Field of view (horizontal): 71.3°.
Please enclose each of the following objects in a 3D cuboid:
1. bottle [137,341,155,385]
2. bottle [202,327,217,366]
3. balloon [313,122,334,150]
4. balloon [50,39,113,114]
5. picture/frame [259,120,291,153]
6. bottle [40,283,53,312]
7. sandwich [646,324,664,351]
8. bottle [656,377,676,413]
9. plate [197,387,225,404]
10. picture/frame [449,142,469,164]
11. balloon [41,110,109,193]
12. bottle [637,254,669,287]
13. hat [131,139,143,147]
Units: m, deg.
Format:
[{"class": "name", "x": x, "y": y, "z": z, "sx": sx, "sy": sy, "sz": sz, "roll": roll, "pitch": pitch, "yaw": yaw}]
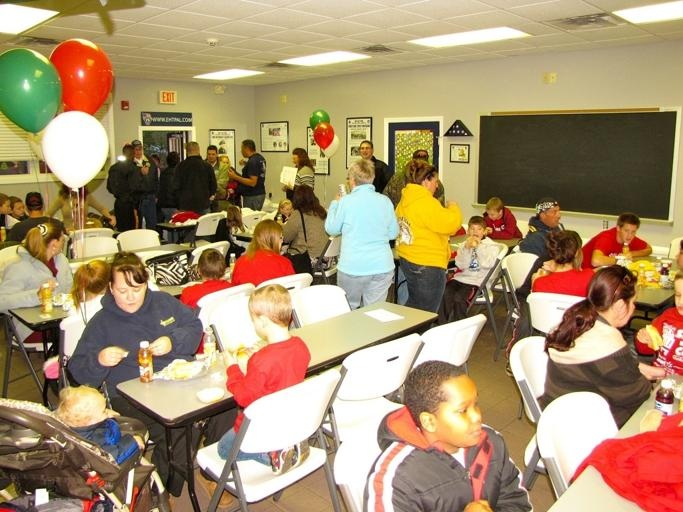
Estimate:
[{"class": "bottle", "x": -1.072, "y": 0.551, "z": 2.608, "sx": 0.068, "sy": 0.214, "sz": 0.207, "roll": -5, "pitch": 13, "yaw": -23}, {"class": "bottle", "x": -0.783, "y": 0.543, "z": 2.825, "sx": 0.069, "sy": 0.155, "sz": 0.220, "roll": -4, "pitch": 13, "yaw": -17}, {"class": "balloon", "x": -0.202, "y": -1.908, "z": 7.726, "sx": 0.371, "sy": 0.476, "sz": 0.381, "roll": 14, "pitch": 18, "yaw": 43}, {"class": "balloon", "x": -1.819, "y": -1.234, "z": 3.390, "sx": 0.338, "sy": 0.606, "sz": 0.348, "roll": 0, "pitch": 17, "yaw": 2}, {"class": "picture/frame", "x": -1.484, "y": -2.675, "z": 10.828, "sx": 0.768, "sy": 0.648, "sz": 0.027, "roll": 10, "pitch": 11, "yaw": 43}, {"class": "bottle", "x": -2.294, "y": 0.323, "z": 3.715, "sx": 0.096, "sy": 0.193, "sz": 0.204, "roll": -8, "pitch": 14, "yaw": -33}, {"class": "sandwich", "x": 1.792, "y": 0.471, "z": 2.725, "sx": 0.037, "sy": 0.155, "sz": 0.114, "roll": -6, "pitch": 25, "yaw": 33}, {"class": "bottle", "x": 1.506, "y": 0.654, "z": 2.212, "sx": 0.074, "sy": 0.161, "sz": 0.156, "roll": 9, "pitch": 15, "yaw": 36}, {"class": "plate", "x": -0.660, "y": 0.709, "z": 2.436, "sx": 0.142, "sy": 0.020, "sz": 0.133, "roll": -8, "pitch": 15, "yaw": -31}, {"class": "picture/frame", "x": 1.995, "y": -1.708, "z": 8.021, "sx": 0.318, "sy": 0.320, "sz": 0.024, "roll": 12, "pitch": 13, "yaw": 39}, {"class": "balloon", "x": -1.794, "y": -0.689, "z": 3.216, "sx": 0.388, "sy": 0.526, "sz": 0.269, "roll": -6, "pitch": 13, "yaw": -27}, {"class": "bottle", "x": 2.827, "y": 0.189, "z": 4.357, "sx": 0.308, "sy": 0.074, "sz": 0.284, "roll": -7, "pitch": 28, "yaw": 4}, {"class": "hat", "x": -4.030, "y": -2.177, "z": 9.425, "sx": 0.183, "sy": 0.106, "sz": 0.265, "roll": 2, "pitch": 13, "yaw": -6}]
